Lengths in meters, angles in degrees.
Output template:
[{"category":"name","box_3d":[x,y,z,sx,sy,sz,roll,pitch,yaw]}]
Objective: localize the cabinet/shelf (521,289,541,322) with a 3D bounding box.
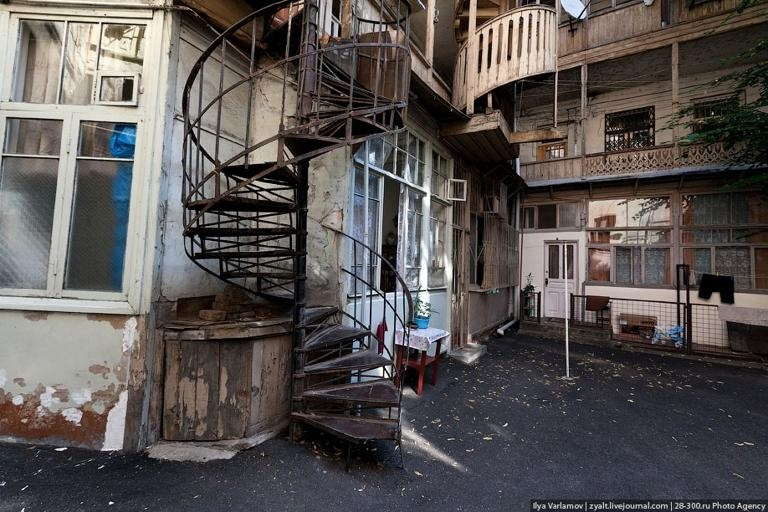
[{"category":"cabinet/shelf","box_3d":[3.551,1.187,14.496,0.506,0.692,0.684,6,11,13]}]

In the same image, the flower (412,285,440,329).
[{"category":"flower","box_3d":[0.773,0.899,10.374,0.569,0.722,0.615,2,-7,-11]}]

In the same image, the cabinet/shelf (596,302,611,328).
[{"category":"cabinet/shelf","box_3d":[4.983,1.293,13.595,0.296,0.630,0.763,7,12,18]}]
